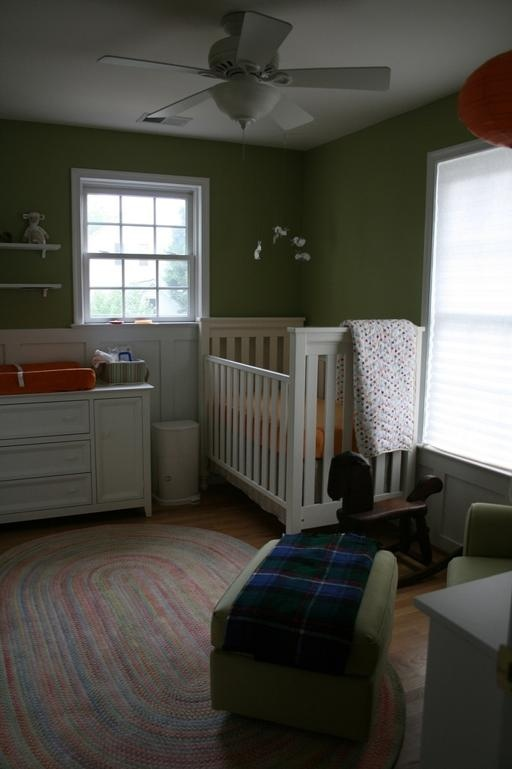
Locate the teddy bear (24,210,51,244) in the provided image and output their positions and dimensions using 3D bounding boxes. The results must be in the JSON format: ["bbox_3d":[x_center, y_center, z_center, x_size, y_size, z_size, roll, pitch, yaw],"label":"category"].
[{"bbox_3d":[-1.320,-0.934,3.359,0.147,0.199,0.098,-2,5,-24],"label":"teddy bear"}]

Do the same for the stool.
[{"bbox_3d":[0.153,0.758,1.653,0.461,0.372,0.474,2,5,19],"label":"stool"}]

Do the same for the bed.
[{"bbox_3d":[0.352,0.077,3.425,0.908,1.139,1.495,-4,12,-21],"label":"bed"}]
